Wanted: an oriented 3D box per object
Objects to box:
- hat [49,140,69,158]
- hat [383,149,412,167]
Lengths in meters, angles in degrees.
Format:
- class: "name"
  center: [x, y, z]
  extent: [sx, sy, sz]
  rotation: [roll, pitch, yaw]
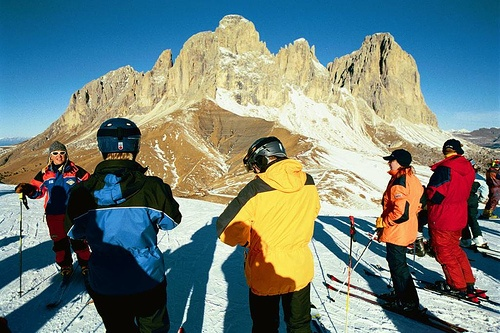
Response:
- class: "hat"
  center: [-5.991, -0.557, 12.065]
  extent: [0.446, 0.459, 0.513]
  rotation: [-9, 8, -18]
- class: "hat"
  center: [4.400, -0.252, 11.351]
  extent: [0.733, 0.426, 0.518]
  rotation: [23, 10, 40]
